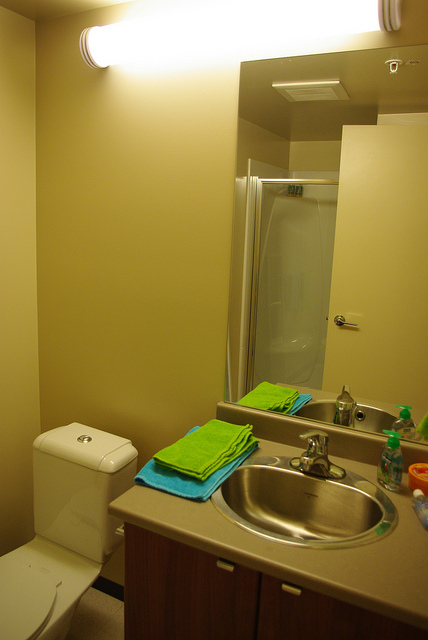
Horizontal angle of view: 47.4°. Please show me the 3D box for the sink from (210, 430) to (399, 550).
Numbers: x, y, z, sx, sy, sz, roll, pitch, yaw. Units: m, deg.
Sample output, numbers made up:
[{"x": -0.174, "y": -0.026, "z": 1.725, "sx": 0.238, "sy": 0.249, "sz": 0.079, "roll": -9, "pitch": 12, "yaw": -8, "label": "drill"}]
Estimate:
[{"x": 0.208, "y": 0.392, "z": 1.106, "sx": 0.382, "sy": 0.107, "sz": 0.386, "roll": 12, "pitch": 15, "yaw": 28, "label": "sink"}]

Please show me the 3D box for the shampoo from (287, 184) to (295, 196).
[{"x": 0.205, "y": -0.350, "z": 1.312, "sx": 0.017, "sy": 0.028, "sz": 0.008, "roll": 3, "pitch": 5, "yaw": 26, "label": "shampoo"}]

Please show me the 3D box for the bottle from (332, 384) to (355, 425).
[{"x": 0.362, "y": 0.262, "z": 1.364, "sx": 0.044, "sy": 0.133, "sz": 0.120, "roll": 5, "pitch": 17, "yaw": 16, "label": "bottle"}]

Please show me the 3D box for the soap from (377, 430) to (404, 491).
[{"x": 0.404, "y": 0.318, "z": 1.118, "sx": 0.035, "sy": 0.147, "sz": 0.060, "roll": -17, "pitch": 27, "yaw": -32, "label": "soap"}]
